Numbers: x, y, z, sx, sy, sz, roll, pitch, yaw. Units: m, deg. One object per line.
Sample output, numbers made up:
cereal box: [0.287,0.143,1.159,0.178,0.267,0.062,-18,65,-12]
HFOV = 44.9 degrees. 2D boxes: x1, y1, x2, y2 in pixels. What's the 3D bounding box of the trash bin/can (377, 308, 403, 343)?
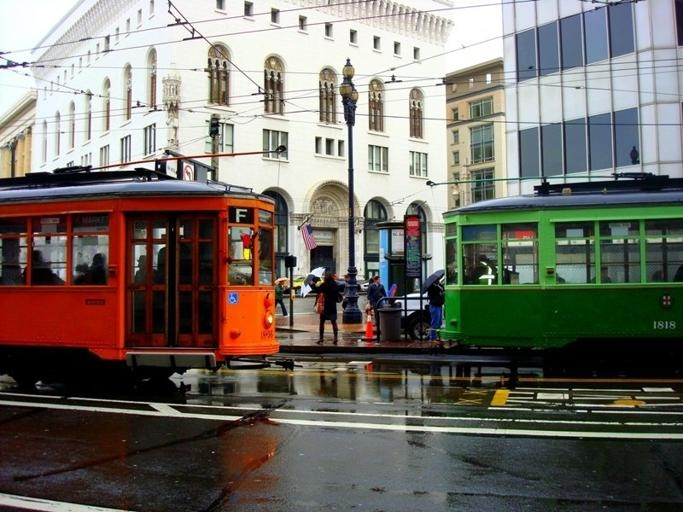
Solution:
trash bin/can: [1.309,1.852,22.887,0.615,0.892,0.812,-1,7,1]
